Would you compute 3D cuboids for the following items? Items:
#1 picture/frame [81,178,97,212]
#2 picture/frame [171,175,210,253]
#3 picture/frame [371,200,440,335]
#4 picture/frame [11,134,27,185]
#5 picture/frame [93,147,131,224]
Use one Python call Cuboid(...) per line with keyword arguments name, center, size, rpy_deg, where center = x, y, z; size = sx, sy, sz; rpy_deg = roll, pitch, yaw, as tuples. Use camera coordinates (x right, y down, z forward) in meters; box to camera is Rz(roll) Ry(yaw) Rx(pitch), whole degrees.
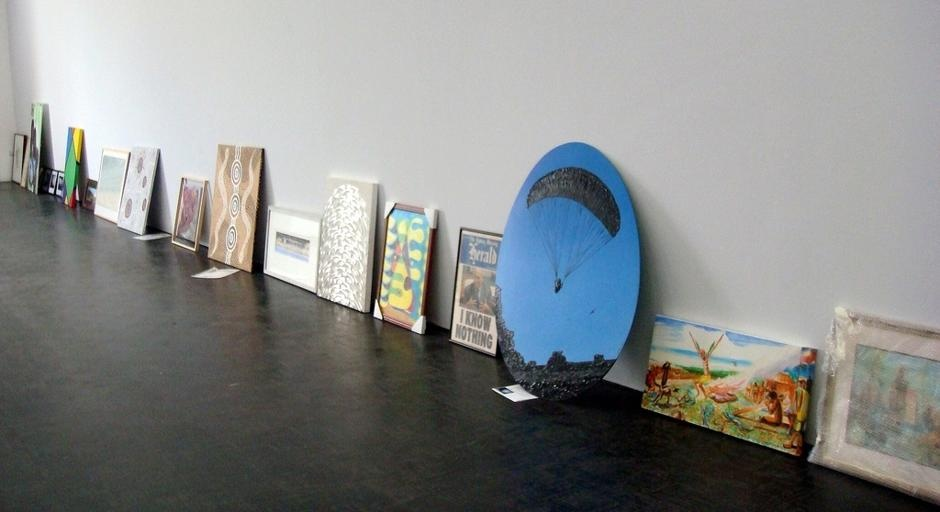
Cuboid(name="picture/frame", center=(-6.456, -1.012, 8.707), size=(0.593, 0.691, 0.046), rpy_deg=(2, -2, 38))
Cuboid(name="picture/frame", center=(-3.692, -0.534, 6.809), size=(0.083, 1.098, 0.854), rpy_deg=(3, 9, -44))
Cuboid(name="picture/frame", center=(-0.566, 0.132, 4.685), size=(0.178, 1.475, 1.014), rpy_deg=(5, 3, -43))
Cuboid(name="picture/frame", center=(-9.356, -2.015, 10.655), size=(1.017, 1.410, 0.100), rpy_deg=(4, 3, 40))
Cuboid(name="picture/frame", center=(-5.561, -1.064, 7.999), size=(1.113, 1.374, 0.089), rpy_deg=(10, 3, 42))
